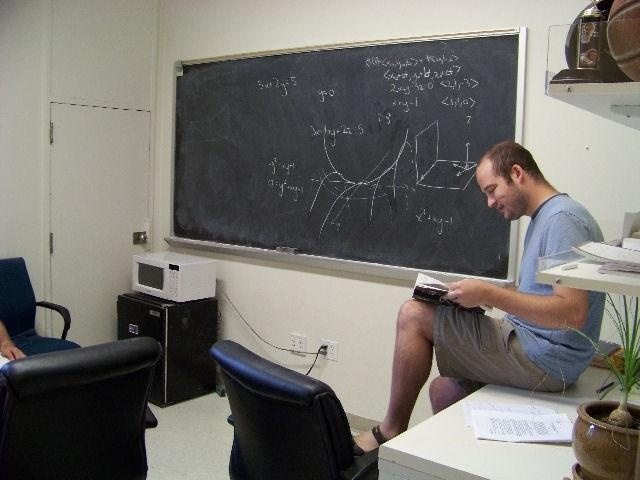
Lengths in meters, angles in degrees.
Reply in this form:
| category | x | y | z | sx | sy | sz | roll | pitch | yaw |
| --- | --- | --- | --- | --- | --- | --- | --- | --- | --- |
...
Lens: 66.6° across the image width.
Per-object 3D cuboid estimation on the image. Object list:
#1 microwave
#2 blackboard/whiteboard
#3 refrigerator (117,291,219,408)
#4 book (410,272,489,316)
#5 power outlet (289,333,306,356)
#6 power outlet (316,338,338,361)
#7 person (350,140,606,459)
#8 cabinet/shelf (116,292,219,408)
| category | x | y | z | sx | sy | sz | roll | pitch | yaw |
| --- | --- | --- | --- | --- | --- | --- | --- | --- | --- |
| microwave | -1.123 | 0.275 | 3.738 | 0.554 | 0.296 | 0.380 | 7 | 6 | 35 |
| blackboard/whiteboard | 0.194 | -0.524 | 3.092 | 1.829 | 1.129 | 0.149 | 4 | 4 | 32 |
| refrigerator | -1.148 | 0.766 | 3.718 | 0.621 | 0.714 | 0.631 | 2 | 7 | -26 |
| book | 0.513 | 0.225 | 2.126 | 0.204 | 0.072 | 0.204 | 16 | 4 | -35 |
| power outlet | -0.156 | 0.729 | 3.423 | 0.160 | 0.195 | 0.021 | 1 | 3 | 36 |
| power outlet | 0.047 | 0.738 | 3.299 | 0.151 | 0.160 | 0.018 | 3 | 3 | 35 |
| person | 0.776 | 0.237 | 2.731 | 1.389 | 1.843 | 0.849 | 3 | 2 | 19 |
| cabinet/shelf | -1.111 | 0.777 | 3.740 | 0.567 | 0.722 | 0.574 | -1 | 7 | -33 |
